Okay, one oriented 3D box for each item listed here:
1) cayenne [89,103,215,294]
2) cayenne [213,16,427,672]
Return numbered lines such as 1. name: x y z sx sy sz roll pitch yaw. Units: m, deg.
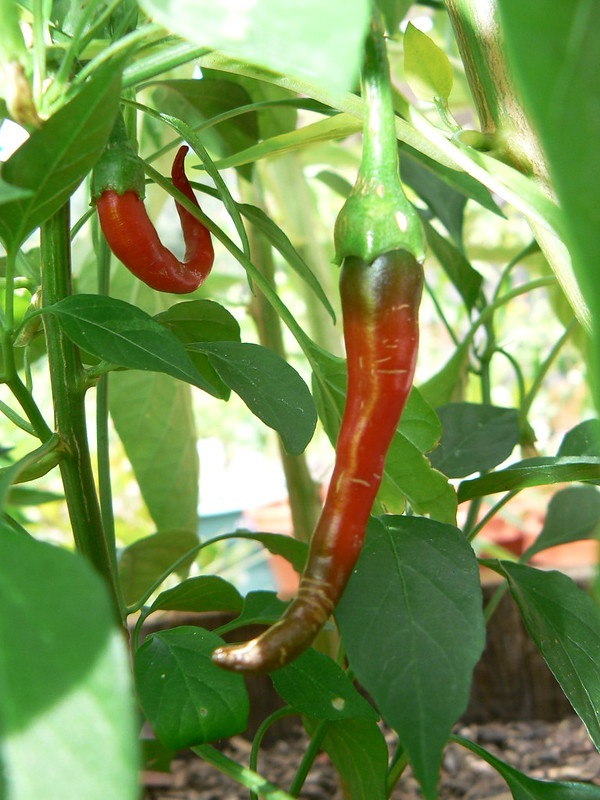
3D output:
1. cayenne: -0.048 -0.055 0.242 0.045 0.064 0.022 9 -21 -17
2. cayenne: 0.010 -0.016 0.187 0.040 0.133 0.104 2 10 9
